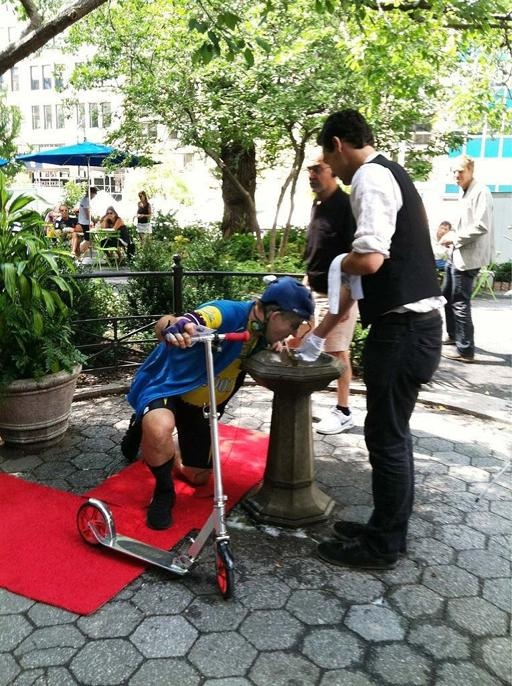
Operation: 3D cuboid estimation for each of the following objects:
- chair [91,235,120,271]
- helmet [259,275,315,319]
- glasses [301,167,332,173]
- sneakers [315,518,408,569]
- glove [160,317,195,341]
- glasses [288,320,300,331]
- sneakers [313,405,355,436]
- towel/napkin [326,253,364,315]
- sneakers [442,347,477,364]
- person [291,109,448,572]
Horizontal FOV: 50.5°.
[{"bbox_3d":[-3.624,-2.319,13.594,0.619,0.841,1.883,-1,11,-14],"label":"chair"},{"bbox_3d":[0.152,-0.208,2.550,0.262,0.153,0.158,26,41,8],"label":"helmet"},{"bbox_3d":[0.450,-1.223,3.840,0.099,0.026,0.095,-3,8,-40],"label":"glasses"},{"bbox_3d":[0.481,0.953,2.503,0.288,0.091,0.281,6,1,13],"label":"sneakers"},{"bbox_3d":[-0.331,-0.066,2.289,0.118,0.041,0.110,-22,22,-12],"label":"glove"},{"bbox_3d":[0.189,-0.076,2.571,0.049,0.044,0.037,-35,-23,19],"label":"glasses"},{"bbox_3d":[0.609,0.599,4.118,0.146,0.148,0.362,-4,-4,41],"label":"sneakers"},{"bbox_3d":[0.375,-0.261,2.383,0.188,0.235,0.173,-16,8,-41],"label":"towel/napkin"},{"bbox_3d":[2.439,0.141,6.624,0.177,0.168,0.431,-9,18,-22],"label":"sneakers"},{"bbox_3d":[0.549,0.010,2.403,0.474,2.038,0.490,-1,13,-14],"label":"person"}]
